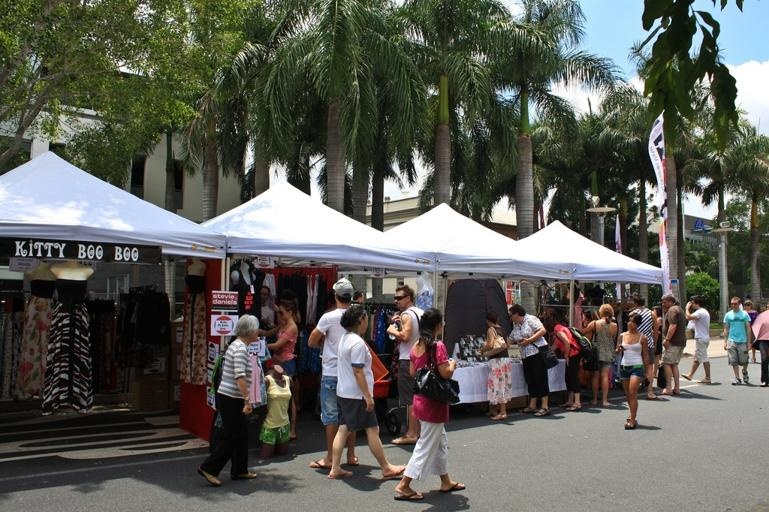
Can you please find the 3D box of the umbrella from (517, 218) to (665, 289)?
[{"bbox_3d":[5.060,0.065,17.208,2.234,1.038,2.200,3,-5,-37],"label":"umbrella"}]

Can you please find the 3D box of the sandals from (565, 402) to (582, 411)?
[{"bbox_3d":[4.275,3.433,14.720,0.143,0.128,0.403,-11,-15,43],"label":"sandals"}]

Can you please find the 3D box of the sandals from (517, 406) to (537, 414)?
[{"bbox_3d":[3.166,3.439,14.383,0.367,0.118,0.157,1,-6,11],"label":"sandals"}]

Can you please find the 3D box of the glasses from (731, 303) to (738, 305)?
[{"bbox_3d":[9.613,1.324,17.862,0.143,0.091,0.168,-8,-17,37],"label":"glasses"}]

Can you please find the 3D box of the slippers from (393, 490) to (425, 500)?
[{"bbox_3d":[0.367,3.502,9.572,0.399,0.106,0.164,-1,0,13],"label":"slippers"}]

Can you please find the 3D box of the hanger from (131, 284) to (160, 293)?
[{"bbox_3d":[-5.278,0.723,14.286,0.485,0.145,1.106,0,1,-32],"label":"hanger"}]

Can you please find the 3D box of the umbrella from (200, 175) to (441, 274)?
[{"bbox_3d":[-1.519,-0.544,13.176,4.118,1.518,1.999,0,1,-19],"label":"umbrella"}]

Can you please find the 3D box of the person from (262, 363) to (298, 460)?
[{"bbox_3d":[-1.878,2.672,11.163,0.501,1.558,0.351,0,1,-24],"label":"person"}]

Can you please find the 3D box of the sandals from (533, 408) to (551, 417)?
[{"bbox_3d":[3.486,3.406,14.188,0.509,0.147,0.247,0,1,-36],"label":"sandals"}]

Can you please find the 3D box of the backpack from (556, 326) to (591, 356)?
[{"bbox_3d":[4.316,1.925,14.959,0.877,0.672,0.474,0,1,-23],"label":"backpack"}]

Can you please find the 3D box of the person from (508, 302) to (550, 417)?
[{"bbox_3d":[3.219,2.271,14.365,0.847,2.387,0.594,1,1,13],"label":"person"}]

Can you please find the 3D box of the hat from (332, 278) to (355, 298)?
[{"bbox_3d":[-0.760,0.580,11.638,0.360,0.236,0.526,1,15,-6],"label":"hat"}]

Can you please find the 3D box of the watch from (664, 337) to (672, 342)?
[{"bbox_3d":[7.028,2.078,16.125,0.108,0.117,0.119,2,-28,6],"label":"watch"}]

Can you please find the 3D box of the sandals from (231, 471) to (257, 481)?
[{"bbox_3d":[-2.219,3.455,10.254,0.378,0.177,0.143,-1,-2,-11],"label":"sandals"}]

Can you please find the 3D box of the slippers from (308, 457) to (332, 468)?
[{"bbox_3d":[-1.043,3.429,10.704,0.279,0.113,0.164,5,-10,7],"label":"slippers"}]

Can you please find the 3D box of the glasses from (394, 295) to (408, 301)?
[{"bbox_3d":[0.276,0.750,11.570,0.213,0.098,0.084,2,1,33],"label":"glasses"}]

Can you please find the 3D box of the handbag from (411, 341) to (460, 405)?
[{"bbox_3d":[0.762,1.748,9.581,0.634,0.849,0.319,1,1,4],"label":"handbag"}]

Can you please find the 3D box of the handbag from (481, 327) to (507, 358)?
[{"bbox_3d":[2.357,1.888,13.981,0.294,0.595,0.535,10,-22,-41],"label":"handbag"}]

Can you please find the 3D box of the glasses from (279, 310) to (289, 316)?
[{"bbox_3d":[-1.802,1.024,11.652,0.148,0.049,0.141,7,-9,-30],"label":"glasses"}]

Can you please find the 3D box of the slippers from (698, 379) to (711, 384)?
[{"bbox_3d":[8.889,3.525,18.062,0.332,0.136,0.147,2,-4,23],"label":"slippers"}]
